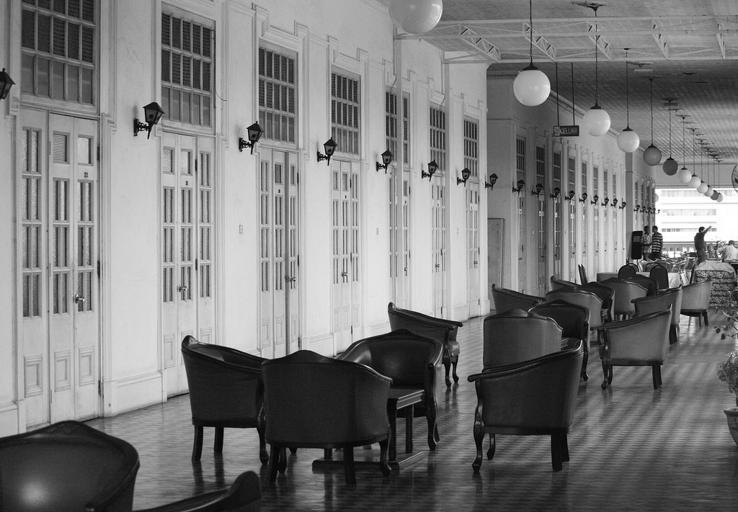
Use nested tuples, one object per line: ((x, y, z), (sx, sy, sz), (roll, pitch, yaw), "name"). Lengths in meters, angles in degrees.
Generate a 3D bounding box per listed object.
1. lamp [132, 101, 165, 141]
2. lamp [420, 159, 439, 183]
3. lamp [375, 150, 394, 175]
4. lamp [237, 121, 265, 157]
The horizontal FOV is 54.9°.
((-2.512, -1.574, 8.376), (0.258, 0.421, 0.435), (2, 3, 31), "lamp")
((1.269, -1.778, 14.951), (0.382, 0.638, 0.348), (-3, -3, 21), "lamp")
((0.267, -1.744, 13.173), (0.366, 0.672, 0.315), (-2, 3, 11), "lamp")
((-1.590, -1.619, 9.929), (0.282, 0.417, 0.492), (1, 3, 12), "lamp")
